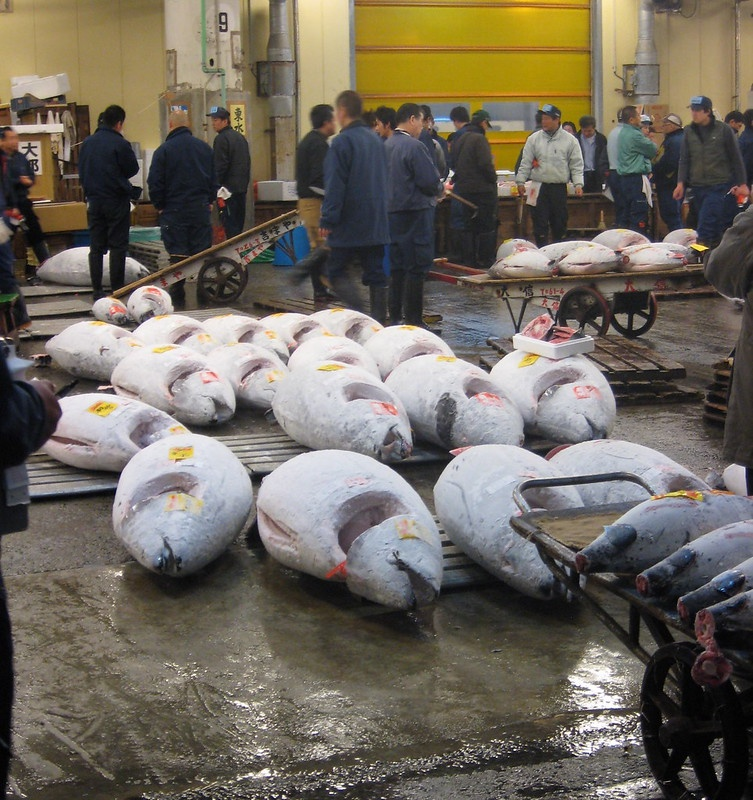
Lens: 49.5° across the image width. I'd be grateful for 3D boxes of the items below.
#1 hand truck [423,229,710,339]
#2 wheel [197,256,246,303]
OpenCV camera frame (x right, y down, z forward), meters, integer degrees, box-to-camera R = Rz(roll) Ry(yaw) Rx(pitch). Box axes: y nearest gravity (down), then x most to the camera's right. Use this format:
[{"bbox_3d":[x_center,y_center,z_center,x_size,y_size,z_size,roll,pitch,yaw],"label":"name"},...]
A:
[{"bbox_3d":[1.899,-1.125,7.447,2.741,0.594,1.218,-4,17,-8],"label":"hand truck"},{"bbox_3d":[-1.853,-1.406,9.576,0.636,0.500,0.141,-16,35,-36],"label":"wheel"}]
